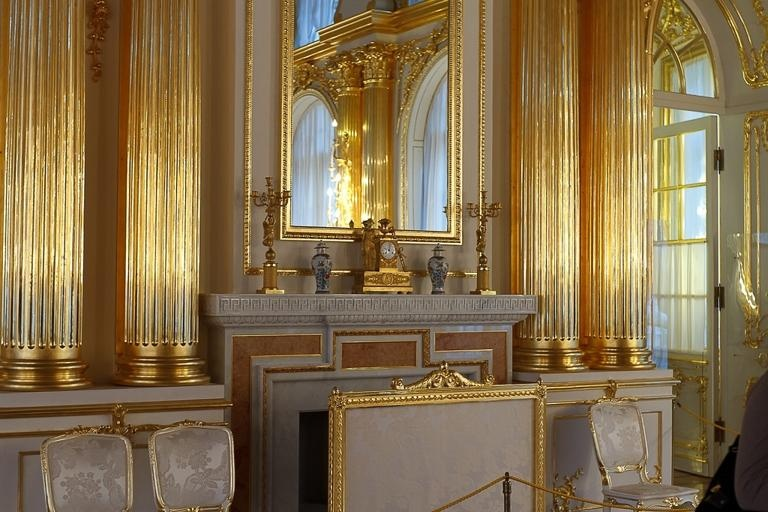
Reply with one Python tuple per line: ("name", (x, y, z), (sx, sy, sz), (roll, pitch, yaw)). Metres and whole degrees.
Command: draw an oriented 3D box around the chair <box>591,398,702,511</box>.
("chair", (1.843, 1.434, 6.043), (0.623, 0.714, 0.883), (0, -2, -8))
